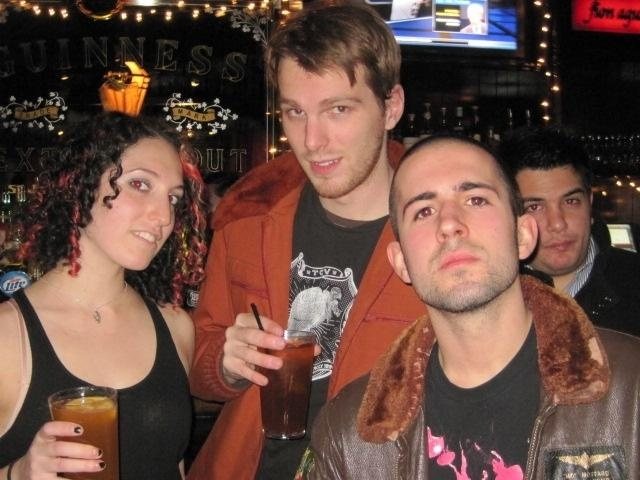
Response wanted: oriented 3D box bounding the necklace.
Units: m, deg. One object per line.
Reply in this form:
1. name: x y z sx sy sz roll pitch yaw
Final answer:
1. necklace: -1.101 0.220 2.830 0.319 0.094 0.359 3 34 48
